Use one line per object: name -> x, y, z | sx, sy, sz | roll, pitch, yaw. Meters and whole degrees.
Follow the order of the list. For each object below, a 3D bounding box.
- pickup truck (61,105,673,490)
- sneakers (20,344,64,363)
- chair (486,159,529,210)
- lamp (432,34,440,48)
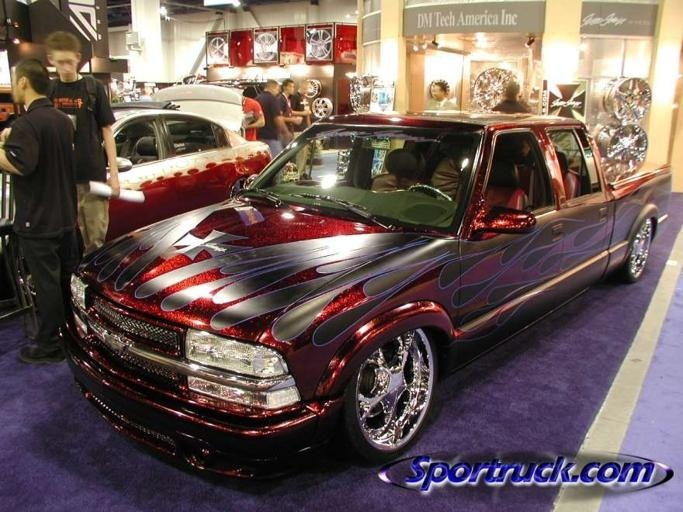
pickup truck -> 0.595, -0.083, 3.213 | 4.085, 1.031, 1.898 | -13, 20, -40
sneakers -> -2.407, 0.784, 3.556 | 0.347, 0.119, 0.142 | 6, 8, -1
chair -> 1.166, -0.535, 3.221 | 0.345, 0.407, 0.381 | 8, 20, 10
lamp -> 2.806, -6.441, 13.118 | 0.220, 0.312, 0.105 | 5, -2, 12
